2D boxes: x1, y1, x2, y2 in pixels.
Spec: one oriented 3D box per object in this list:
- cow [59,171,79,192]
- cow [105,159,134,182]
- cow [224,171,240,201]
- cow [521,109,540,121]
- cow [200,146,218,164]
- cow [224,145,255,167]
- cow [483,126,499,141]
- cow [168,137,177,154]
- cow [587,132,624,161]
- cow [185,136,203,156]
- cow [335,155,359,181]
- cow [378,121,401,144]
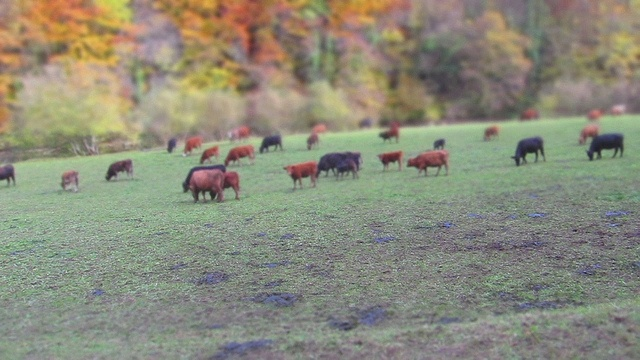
[{"bbox_3d":[-7.019,0.029,19.437,0.470,0.562,0.675,-7,3,-21],"label":"cow"},{"bbox_3d":[-5.818,-0.302,20.047,0.791,0.527,0.484,-7,3,-12],"label":"cow"},{"bbox_3d":[-2.310,0.129,17.933,0.400,0.581,0.594,-7,3,-8],"label":"cow"},{"bbox_3d":[5.705,-1.783,18.930,0.499,0.319,0.117,-5,3,15],"label":"cow"},{"bbox_3d":[-3.309,-0.760,20.699,0.626,0.435,0.566,-7,3,-9],"label":"cow"},{"bbox_3d":[-2.376,-0.733,20.320,0.915,0.459,0.672,-6,3,-6],"label":"cow"},{"bbox_3d":[4.703,-1.294,19.079,0.443,0.402,0.105,-6,3,4],"label":"cow"},{"bbox_3d":[-4.511,-1.071,21.182,0.331,0.385,0.251,-7,3,-8],"label":"cow"},{"bbox_3d":[7.377,-0.869,17.935,0.998,0.632,0.520,-6,3,10],"label":"cow"},{"bbox_3d":[-3.873,-1.053,21.093,0.625,0.446,0.300,-7,3,-12],"label":"cow"},{"bbox_3d":[0.742,-0.329,18.836,0.593,0.409,0.491,-6,3,6],"label":"cow"},{"bbox_3d":[2.006,-1.310,19.374,0.717,0.375,0.340,-3,4,45],"label":"cow"}]
